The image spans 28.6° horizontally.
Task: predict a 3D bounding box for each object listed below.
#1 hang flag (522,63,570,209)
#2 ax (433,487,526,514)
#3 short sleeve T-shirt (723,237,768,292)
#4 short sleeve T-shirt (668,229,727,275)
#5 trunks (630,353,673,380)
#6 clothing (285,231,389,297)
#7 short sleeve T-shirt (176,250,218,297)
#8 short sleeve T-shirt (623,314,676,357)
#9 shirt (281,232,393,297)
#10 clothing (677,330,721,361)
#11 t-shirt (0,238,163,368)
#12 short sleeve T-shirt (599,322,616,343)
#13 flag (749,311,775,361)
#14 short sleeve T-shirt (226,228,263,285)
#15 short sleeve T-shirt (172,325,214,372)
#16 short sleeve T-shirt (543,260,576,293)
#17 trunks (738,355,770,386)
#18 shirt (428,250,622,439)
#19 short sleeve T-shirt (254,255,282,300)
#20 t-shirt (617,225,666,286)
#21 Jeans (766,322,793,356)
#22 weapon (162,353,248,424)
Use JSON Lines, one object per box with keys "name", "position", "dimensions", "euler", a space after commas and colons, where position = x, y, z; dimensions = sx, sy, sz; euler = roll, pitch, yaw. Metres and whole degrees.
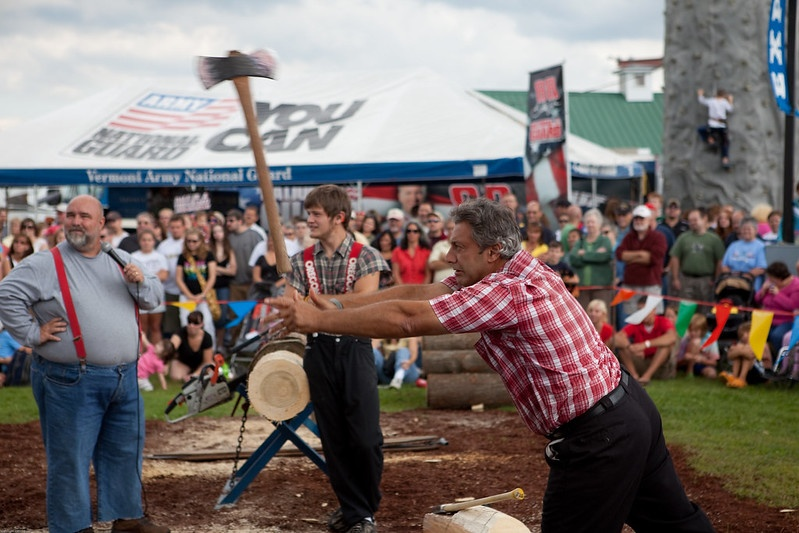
{"name": "hang flag", "position": [2.537, -2.367, 27.504], "dimensions": [0.425, 2.451, 1.319], "euler": [-5, 6, -24]}
{"name": "ax", "position": [1.036, 3.048, 20.310], "dimensions": [1.251, 0.178, 0.302], "euler": [-13, 21, 14]}
{"name": "short sleeve T-shirt", "position": [5.544, -0.042, 25.054], "dimensions": [0.708, 0.778, 0.406], "euler": [-8, -24, 39]}
{"name": "short sleeve T-shirt", "position": [4.917, -0.197, 26.013], "dimensions": [1.164, 1.052, 0.636], "euler": [-1, -9, 18]}
{"name": "trunks", "position": [4.076, 1.588, 25.043], "dimensions": [0.541, 0.223, 0.432], "euler": [-23, -44, 18]}
{"name": "clothing", "position": [-0.829, -0.047, 21.102], "dimensions": [0.996, 0.773, 0.277], "euler": [0, -1, 3]}
{"name": "short sleeve T-shirt", "position": [-3.394, -0.061, 26.198], "dimensions": [0.742, 0.706, 0.407], "euler": [0, 24, 4]}
{"name": "short sleeve T-shirt", "position": [3.993, 0.932, 25.462], "dimensions": [0.933, 0.628, 1.079], "euler": [8, 6, 3]}
{"name": "shirt", "position": [-0.877, 0.086, 20.861], "dimensions": [1.421, 1.063, 0.391], "euler": [-4, -18, 16]}
{"name": "clothing", "position": [4.810, 1.205, 25.285], "dimensions": [0.558, 0.764, 0.468], "euler": [-2, -2, 35]}
{"name": "t-shirt", "position": [-4.264, 0.442, 20.570], "dimensions": [1.440, 2.008, 2.591], "euler": [-1, 1, 45]}
{"name": "short sleeve T-shirt", "position": [3.226, 1.007, 24.513], "dimensions": [0.329, 0.332, 0.181], "euler": [1, -5, -3]}
{"name": "flag", "position": [5.509, 1.026, 23.914], "dimensions": [0.357, 0.810, 0.543], "euler": [-1, 6, 13]}
{"name": "short sleeve T-shirt", "position": [-2.696, -0.239, 26.829], "dimensions": [0.815, 0.966, 0.313], "euler": [2, 14, 20]}
{"name": "short sleeve T-shirt", "position": [-3.379, 1.310, 25.539], "dimensions": [0.961, 0.924, 0.536], "euler": [1, 1, -6]}
{"name": "short sleeve T-shirt", "position": [2.273, 0.112, 22.415], "dimensions": [0.489, 0.577, 0.313], "euler": [-4, 7, -11]}
{"name": "trunks", "position": [5.456, 1.654, 24.560], "dimensions": [0.389, 0.358, 0.646], "euler": [1, -5, 6]}
{"name": "shirt", "position": [1.364, 0.900, 19.951], "dimensions": [2.508, 2.258, 1.761], "euler": [-10, 4, 12]}
{"name": "short sleeve T-shirt", "position": [-2.236, 0.181, 26.203], "dimensions": [0.637, 0.828, 0.316], "euler": [-1, -5, -13]}
{"name": "t-shirt", "position": [3.978, -0.205, 25.847], "dimensions": [0.807, 0.992, 0.563], "euler": [3, 1, 28]}
{"name": "Jeans", "position": [5.898, 1.036, 24.368], "dimensions": [0.431, 0.518, 0.541], "euler": [-4, 9, -12]}
{"name": "weapon", "position": [-2.680, 1.623, 21.630], "dimensions": [1.460, 0.663, 0.311], "euler": [-23, 12, -30]}
